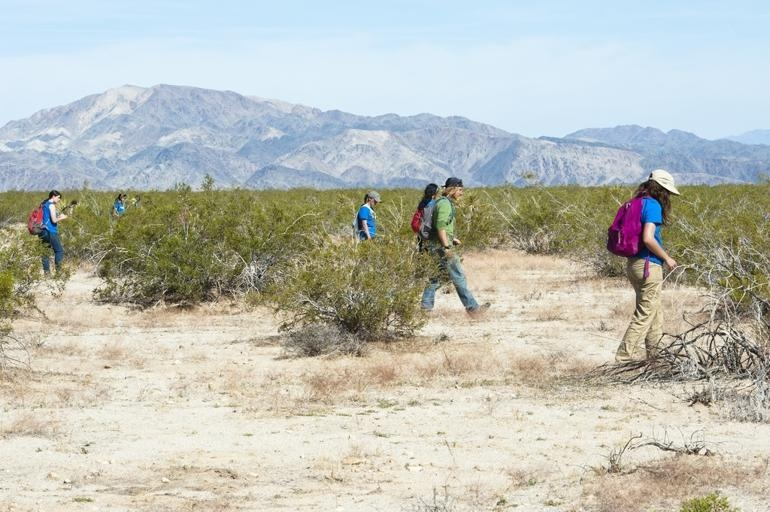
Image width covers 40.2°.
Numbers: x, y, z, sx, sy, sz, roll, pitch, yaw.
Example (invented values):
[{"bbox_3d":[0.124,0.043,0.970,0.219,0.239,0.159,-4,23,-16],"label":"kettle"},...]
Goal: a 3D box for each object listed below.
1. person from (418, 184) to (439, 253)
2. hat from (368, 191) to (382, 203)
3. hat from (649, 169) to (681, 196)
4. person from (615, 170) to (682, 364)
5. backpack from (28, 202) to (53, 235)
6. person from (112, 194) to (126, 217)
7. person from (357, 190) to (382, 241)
[{"bbox_3d":[0.781,-0.730,19.265,0.325,1.032,0.663,5,4,-28],"label":"person"},{"bbox_3d":[-0.220,-1.245,21.369,0.260,0.151,0.181,26,17,30],"label":"hat"},{"bbox_3d":[4.279,-1.161,15.795,0.432,0.257,0.434,22,2,-24],"label":"hat"},{"bbox_3d":[3.984,0.160,15.823,0.748,2.911,1.074,4,15,25],"label":"person"},{"bbox_3d":[-7.845,-1.021,23.795,0.422,0.867,0.652,7,36,-20],"label":"backpack"},{"bbox_3d":[-7.167,-1.446,28.129,0.349,0.507,1.410,-6,16,-16],"label":"person"},{"bbox_3d":[-0.353,-0.795,21.416,0.473,1.044,1.552,-2,15,0],"label":"person"}]
